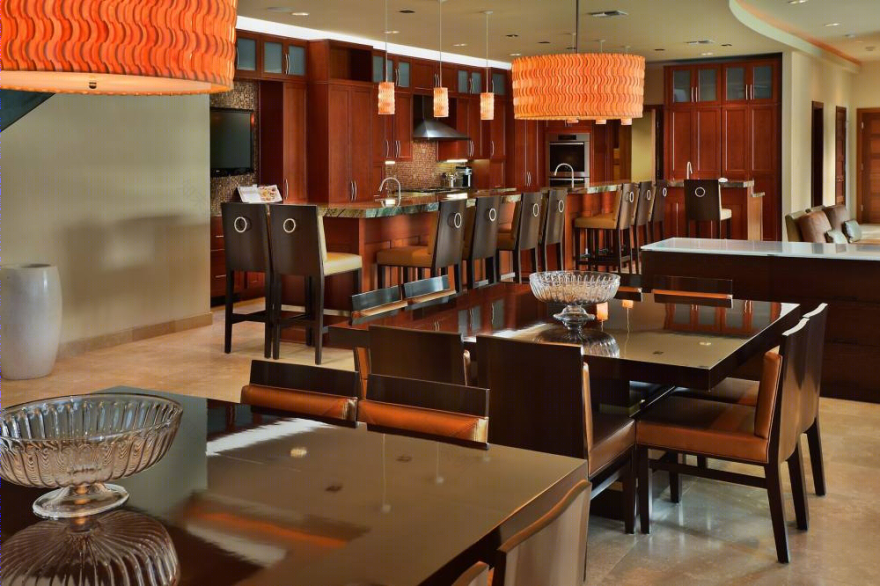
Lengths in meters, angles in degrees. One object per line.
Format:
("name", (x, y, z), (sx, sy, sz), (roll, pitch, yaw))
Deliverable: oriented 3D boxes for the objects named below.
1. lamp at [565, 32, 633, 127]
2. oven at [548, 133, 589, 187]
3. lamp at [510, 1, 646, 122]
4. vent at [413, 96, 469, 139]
("lamp", (1.102, -1.391, 4.428), (0.471, 0.446, 0.436), (3, 3, 25))
("oven", (2.612, -2.503, 13.572), (0.876, 1.388, 0.730), (1, 7, 8))
("lamp", (0.989, -1.477, 4.642), (0.626, 0.592, 0.620), (-1, -3, 22))
("vent", (-0.041, -2.759, 10.611), (0.829, 0.720, 0.609), (-6, 8, -28))
